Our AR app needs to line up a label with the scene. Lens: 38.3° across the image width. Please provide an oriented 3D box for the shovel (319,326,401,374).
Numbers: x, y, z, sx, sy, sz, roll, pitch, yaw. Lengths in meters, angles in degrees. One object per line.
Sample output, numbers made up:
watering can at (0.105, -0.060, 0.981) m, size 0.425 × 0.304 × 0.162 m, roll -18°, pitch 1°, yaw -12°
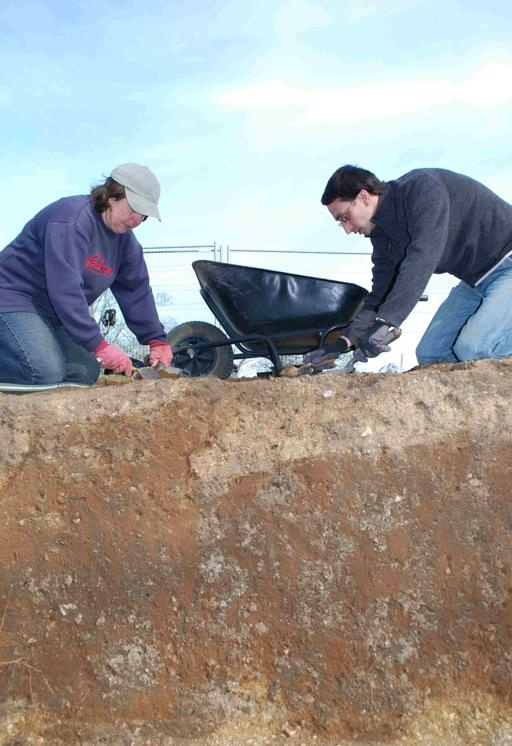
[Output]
shovel at (0.494, -0.135, 3.719) m, size 0.406 × 0.303 × 0.413 m, roll -3°, pitch 9°, yaw -36°

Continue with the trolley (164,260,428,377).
trolley at (0.273, -0.293, 5.398) m, size 1.924 × 0.853 × 0.840 m, roll 2°, pitch -6°, yaw 1°

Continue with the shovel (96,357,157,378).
shovel at (-0.705, -0.031, 3.996) m, size 0.211 × 0.078 × 0.097 m, roll 8°, pitch 16°, yaw 22°
